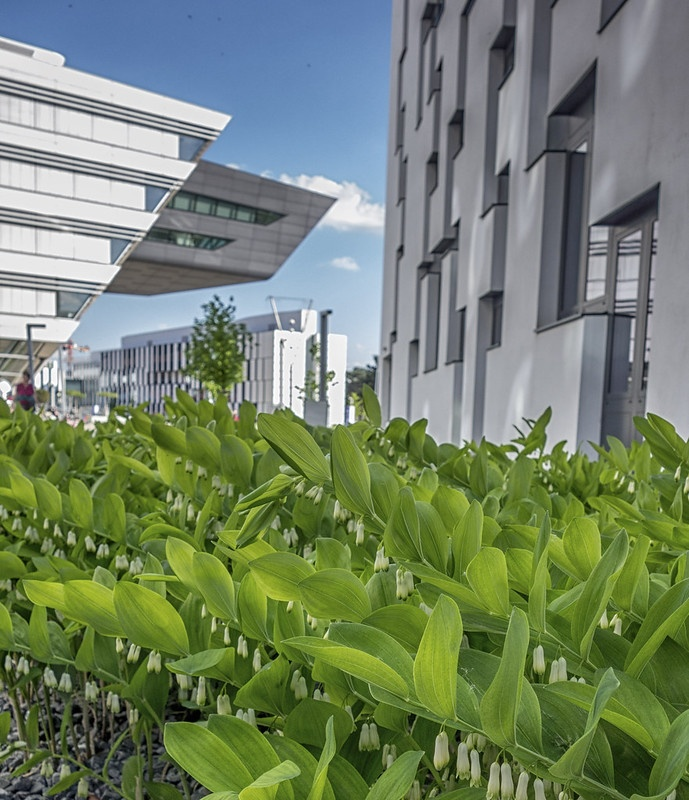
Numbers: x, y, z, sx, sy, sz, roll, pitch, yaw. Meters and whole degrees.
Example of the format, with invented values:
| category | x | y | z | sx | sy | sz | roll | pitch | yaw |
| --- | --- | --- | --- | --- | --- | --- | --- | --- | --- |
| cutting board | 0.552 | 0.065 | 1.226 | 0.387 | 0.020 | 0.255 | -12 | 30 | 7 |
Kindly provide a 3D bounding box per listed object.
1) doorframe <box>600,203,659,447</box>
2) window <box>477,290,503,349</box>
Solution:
| category | x | y | z | sx | sy | sz | roll | pitch | yaw |
| --- | --- | --- | --- | --- | --- | --- | --- | --- | --- |
| doorframe | 1.695 | -0.420 | 4.546 | 0.213 | 1.198 | 0.677 | 2 | -1 | 15 |
| window | 1.546 | -0.880 | 8.027 | 0.080 | 0.753 | 0.579 | -3 | 7 | -24 |
